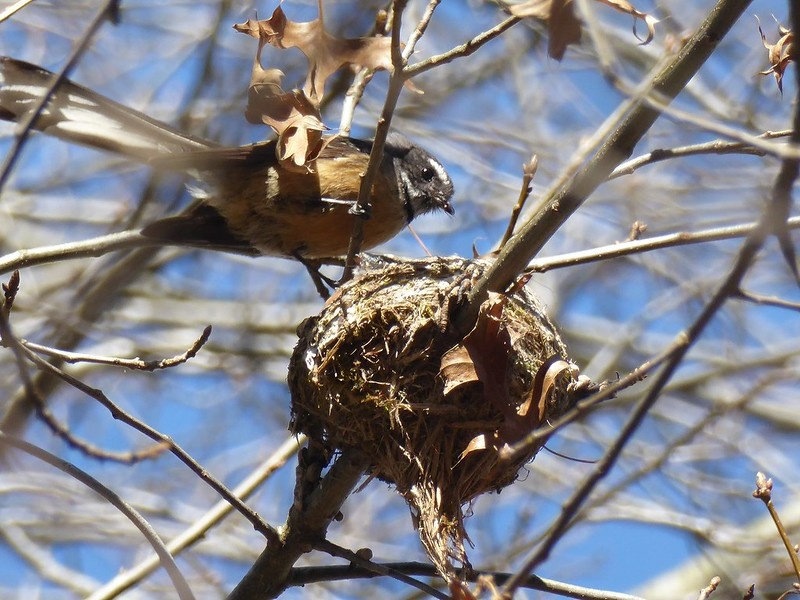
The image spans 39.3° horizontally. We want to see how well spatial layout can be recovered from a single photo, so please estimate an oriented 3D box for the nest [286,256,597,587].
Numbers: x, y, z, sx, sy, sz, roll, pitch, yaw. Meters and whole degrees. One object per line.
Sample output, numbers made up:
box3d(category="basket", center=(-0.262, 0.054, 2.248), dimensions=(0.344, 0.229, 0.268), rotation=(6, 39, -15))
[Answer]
box3d(category="nest", center=(0.183, 0.437, 6.322), dimensions=(1.482, 1.082, 1.519), rotation=(38, -81, -6))
